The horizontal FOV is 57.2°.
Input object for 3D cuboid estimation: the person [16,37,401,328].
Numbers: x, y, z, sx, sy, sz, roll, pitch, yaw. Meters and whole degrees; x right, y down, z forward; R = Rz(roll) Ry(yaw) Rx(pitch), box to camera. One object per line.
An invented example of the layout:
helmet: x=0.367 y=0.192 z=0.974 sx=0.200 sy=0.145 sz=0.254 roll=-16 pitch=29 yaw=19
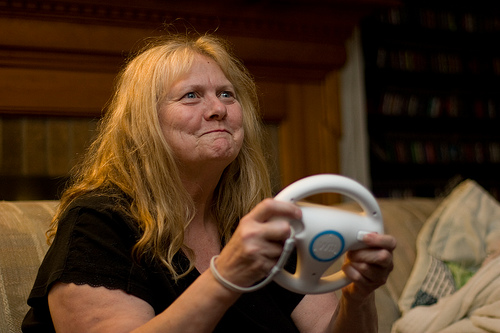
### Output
person: x=-0.250 y=0.234 z=1.738 sx=0.893 sy=1.001 sz=1.190 roll=13 pitch=-39 yaw=-35

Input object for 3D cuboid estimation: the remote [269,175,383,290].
remote: x=0.196 y=0.189 z=1.256 sx=0.417 sy=0.341 sz=0.120 roll=2 pitch=11 yaw=-32
